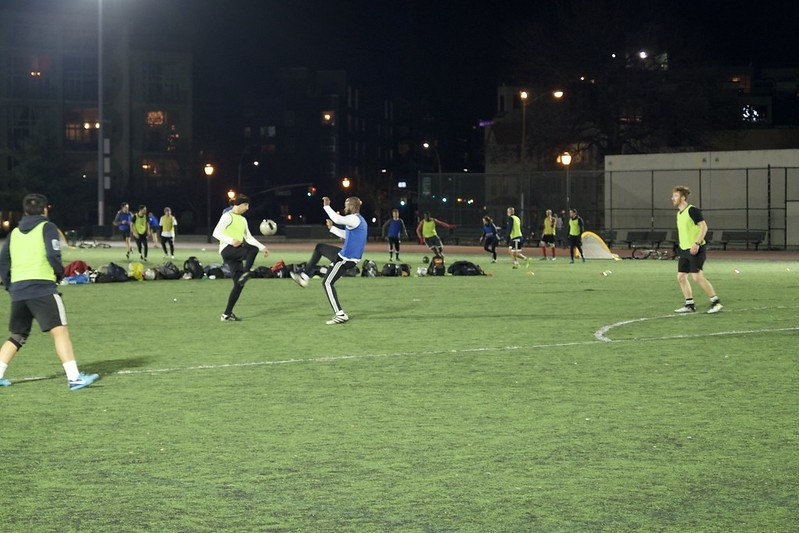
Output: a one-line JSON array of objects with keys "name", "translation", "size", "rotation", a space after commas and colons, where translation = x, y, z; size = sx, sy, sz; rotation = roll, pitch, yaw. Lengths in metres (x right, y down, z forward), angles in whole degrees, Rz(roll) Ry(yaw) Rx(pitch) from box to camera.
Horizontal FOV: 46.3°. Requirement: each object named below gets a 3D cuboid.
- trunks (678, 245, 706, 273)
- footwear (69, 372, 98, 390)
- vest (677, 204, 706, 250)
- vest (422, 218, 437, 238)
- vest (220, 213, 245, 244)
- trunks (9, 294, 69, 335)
[{"name": "trunks", "translation": [5.242, -0.173, 16.928], "size": [0.326, 0.490, 0.532], "rotation": [4, -4, -22]}, {"name": "footwear", "translation": [-3.795, 1.351, 11.393], "size": [0.383, 0.167, 0.131], "rotation": [-17, 16, -20]}, {"name": "vest", "translation": [5.235, -0.732, 16.901], "size": [0.458, 0.821, 0.649], "rotation": [-1, 4, 17]}, {"name": "vest", "translation": [1.049, -1.428, 33.675], "size": [0.559, 0.636, 0.527], "rotation": [-3, 4, -15]}, {"name": "vest", "translation": [-3.054, -0.714, 16.997], "size": [0.335, 0.530, 0.601], "rotation": [2, 3, 30]}, {"name": "trunks", "translation": [-4.366, 0.558, 11.294], "size": [0.861, 0.527, 0.312], "rotation": [0, 4, 13]}]
